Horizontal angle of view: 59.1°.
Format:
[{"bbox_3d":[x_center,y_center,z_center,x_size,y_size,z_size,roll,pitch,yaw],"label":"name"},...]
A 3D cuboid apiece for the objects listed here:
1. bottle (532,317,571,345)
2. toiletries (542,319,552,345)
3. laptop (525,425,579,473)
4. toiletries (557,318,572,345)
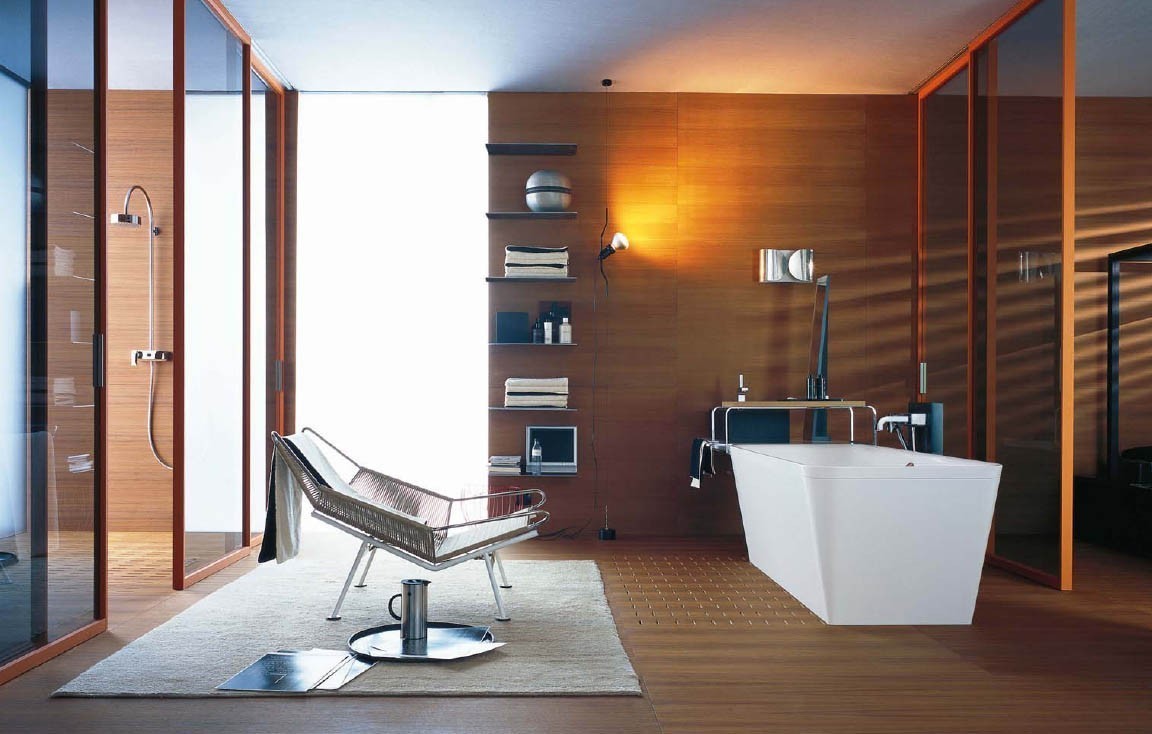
[{"bbox_3d":[-0.168,-0.270,7.814,0.339,0.208,0.169,1,-2,3],"label":"bottle"},{"bbox_3d":[-0.213,-0.268,7.819,0.070,0.175,0.123,0,13,-2],"label":"toiletries"},{"bbox_3d":[-0.192,0.647,7.798,0.390,0.322,0.252,0,13,-4],"label":"laptop"},{"bbox_3d":[-0.073,-0.267,7.841,0.107,0.215,0.187,0,13,-1],"label":"toiletries"}]
